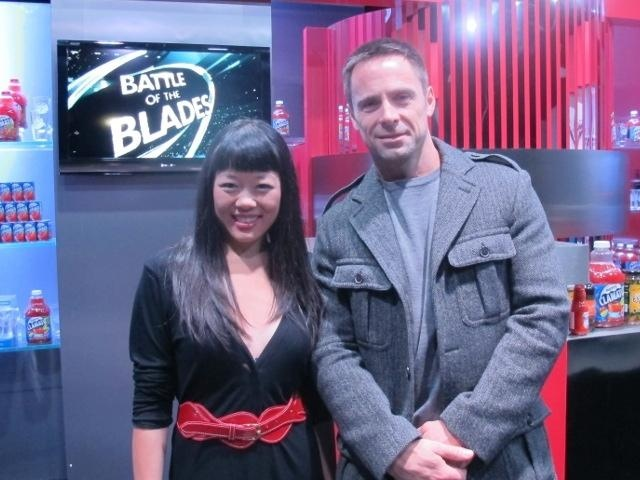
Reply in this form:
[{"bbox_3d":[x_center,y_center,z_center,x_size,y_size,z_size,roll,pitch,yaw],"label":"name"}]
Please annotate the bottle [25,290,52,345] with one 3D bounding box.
[{"bbox_3d":[-1.639,0.449,3.250,0.141,0.342,0.169,-4,1,-30],"label":"bottle"}]
